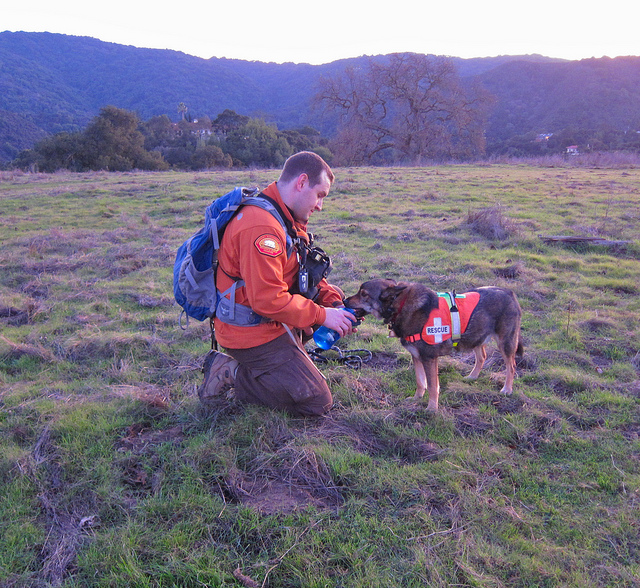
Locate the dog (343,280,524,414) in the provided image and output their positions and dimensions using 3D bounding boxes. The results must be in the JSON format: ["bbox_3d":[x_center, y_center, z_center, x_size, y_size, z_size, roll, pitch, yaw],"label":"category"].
[{"bbox_3d":[1.005,0.375,5.951,2.033,1.799,0.867,-1,3,-6],"label":"dog"}]

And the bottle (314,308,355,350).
[{"bbox_3d":[0.121,0.322,5.224,0.204,0.241,0.565,-26,12,41],"label":"bottle"}]
